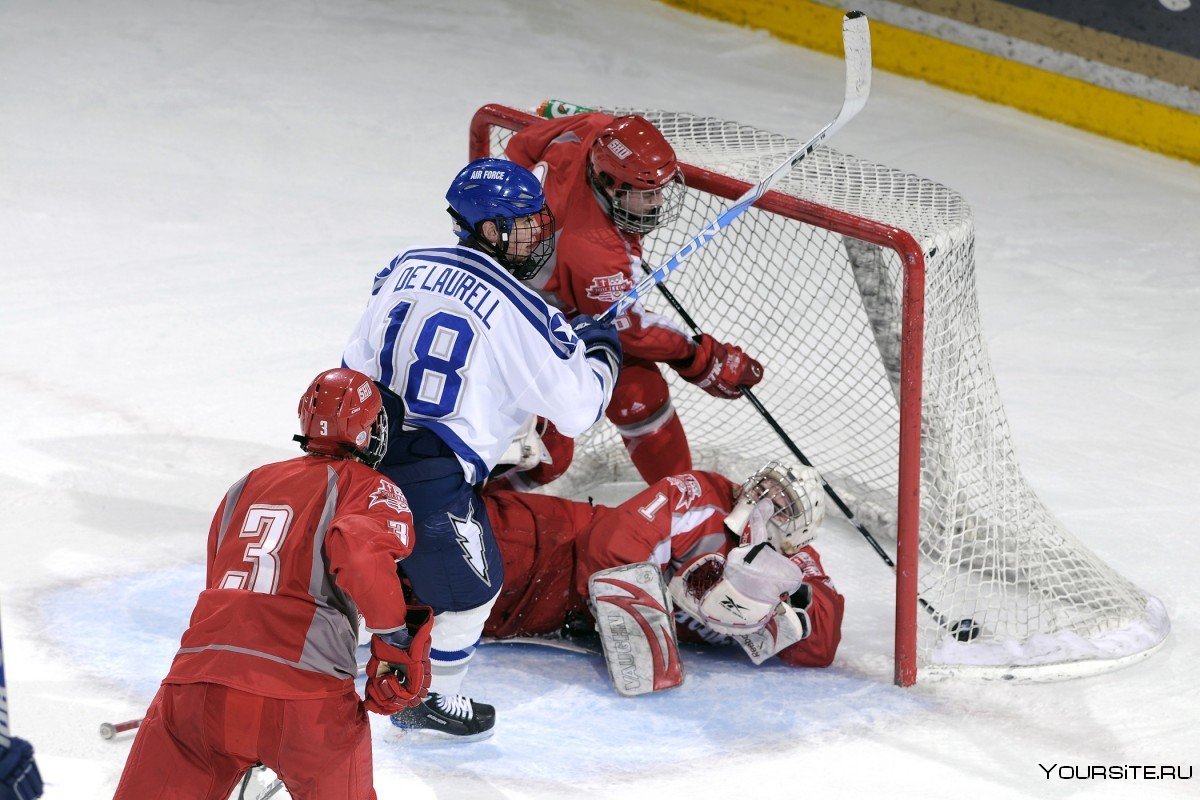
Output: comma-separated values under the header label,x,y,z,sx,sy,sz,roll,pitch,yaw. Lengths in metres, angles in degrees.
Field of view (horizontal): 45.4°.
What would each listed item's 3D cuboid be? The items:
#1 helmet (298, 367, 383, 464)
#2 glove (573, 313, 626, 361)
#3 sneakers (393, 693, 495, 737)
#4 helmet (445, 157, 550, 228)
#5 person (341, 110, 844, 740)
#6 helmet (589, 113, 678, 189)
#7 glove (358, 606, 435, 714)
label,x,y,z,sx,sy,sz,roll,pitch,yaw
helmet,-0.689,0.040,3.790,0.234,0.226,0.276,7,10,11
glove,-0.020,-0.202,4.381,0.142,0.054,0.130,-2,53,-45
sneakers,-0.428,0.924,4.246,0.351,0.133,0.113,0,42,-2
helmet,-0.298,-0.620,4.254,0.282,0.176,0.189,-3,31,1
person,-0.239,0.003,4.517,0.756,1.746,1.309,19,22,25
helmet,0.146,-0.808,4.725,0.301,0.257,0.191,13,63,16
glove,-0.535,0.683,3.787,0.220,0.233,0.127,3,3,6
